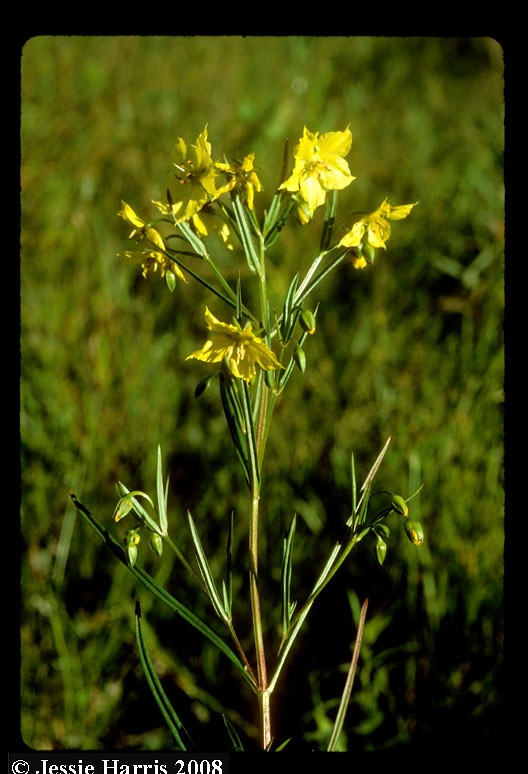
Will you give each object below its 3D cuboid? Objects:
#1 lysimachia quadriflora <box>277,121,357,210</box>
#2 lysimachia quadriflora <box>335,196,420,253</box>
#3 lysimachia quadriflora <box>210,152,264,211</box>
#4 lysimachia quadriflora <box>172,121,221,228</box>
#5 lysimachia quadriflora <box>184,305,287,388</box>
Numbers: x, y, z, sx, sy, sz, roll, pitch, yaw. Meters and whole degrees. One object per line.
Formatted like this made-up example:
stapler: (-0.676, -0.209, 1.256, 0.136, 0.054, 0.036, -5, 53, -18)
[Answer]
lysimachia quadriflora: (0.078, -0.323, 1.048, 0.116, 0.118, 0.049, -27, 40, -25)
lysimachia quadriflora: (0.162, -0.246, 1.114, 0.113, 0.070, 0.105, -9, -13, -3)
lysimachia quadriflora: (-0.026, -0.307, 1.076, 0.086, 0.096, 0.040, 3, 18, 8)
lysimachia quadriflora: (-0.107, -0.329, 1.087, 0.036, 0.092, 0.102, 31, 26, 14)
lysimachia quadriflora: (-0.041, -0.069, 1.044, 0.129, 0.053, 0.129, 7, 7, 0)
